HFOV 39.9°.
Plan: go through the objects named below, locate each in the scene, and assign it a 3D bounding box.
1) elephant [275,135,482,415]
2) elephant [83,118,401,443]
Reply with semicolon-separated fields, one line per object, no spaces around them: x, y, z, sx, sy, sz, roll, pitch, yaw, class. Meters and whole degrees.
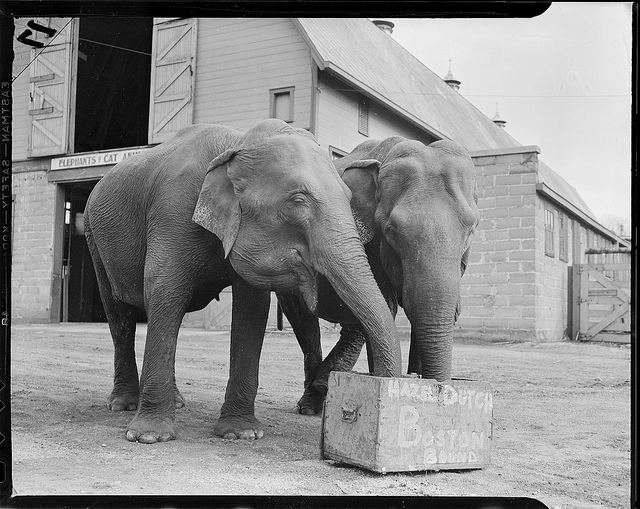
0.463;0.416;8.025;1.339;2.437;2.992;2;-3;-16;elephant
-0.818;0.170;7.058;1.093;2.637;3.160;10;-7;-43;elephant
